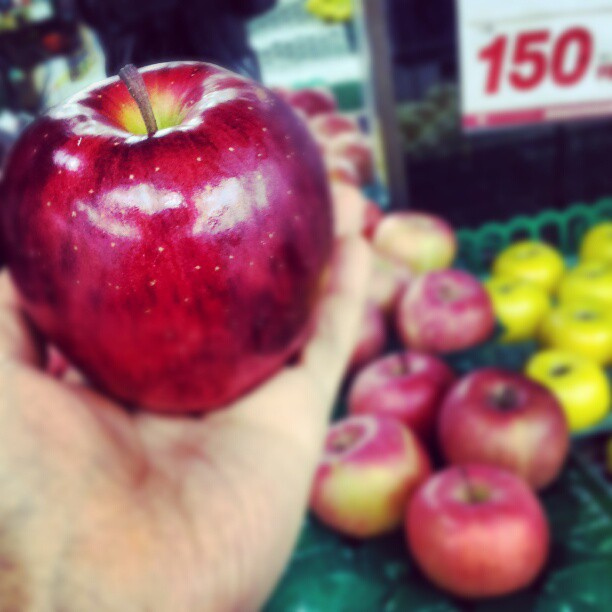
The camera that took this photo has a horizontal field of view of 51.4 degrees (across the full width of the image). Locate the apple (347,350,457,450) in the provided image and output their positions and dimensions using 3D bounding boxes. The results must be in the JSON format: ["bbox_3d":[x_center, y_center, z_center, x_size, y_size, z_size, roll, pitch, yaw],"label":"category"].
[{"bbox_3d":[0.083,0.070,0.566,0.074,0.077,0.077,-10,12,0],"label":"apple"}]

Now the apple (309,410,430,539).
[{"bbox_3d":[0.044,0.143,0.525,0.082,0.084,0.085,29,40,-1],"label":"apple"}]

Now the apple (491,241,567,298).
[{"bbox_3d":[0.220,-0.042,0.612,0.059,0.033,0.060,-13,28,-4],"label":"apple"}]

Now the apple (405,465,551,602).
[{"bbox_3d":[0.130,0.177,0.475,0.106,0.083,0.114,-7,6,18],"label":"apple"}]

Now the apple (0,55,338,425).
[{"bbox_3d":[-0.092,-0.057,0.576,0.256,0.313,0.273,0,33,0],"label":"apple"}]

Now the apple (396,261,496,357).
[{"bbox_3d":[0.123,0.014,0.634,0.079,0.097,0.085,-6,36,-6],"label":"apple"}]

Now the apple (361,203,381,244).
[{"bbox_3d":[0.068,-0.088,0.685,0.017,0.040,0.031,-7,-3,-2],"label":"apple"}]

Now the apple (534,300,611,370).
[{"bbox_3d":[0.229,0.016,0.571,0.058,0.054,0.058,-14,8,-6],"label":"apple"}]

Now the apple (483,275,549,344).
[{"bbox_3d":[0.196,0.000,0.585,0.052,0.035,0.068,-3,34,12],"label":"apple"}]

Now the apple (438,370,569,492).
[{"bbox_3d":[0.149,0.089,0.498,0.084,0.083,0.086,-5,12,0],"label":"apple"}]

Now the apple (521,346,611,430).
[{"bbox_3d":[0.216,0.063,0.510,0.060,0.057,0.060,-17,5,-1],"label":"apple"}]

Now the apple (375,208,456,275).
[{"bbox_3d":[0.110,-0.067,0.648,0.068,0.067,0.069,-3,1,-1],"label":"apple"}]
